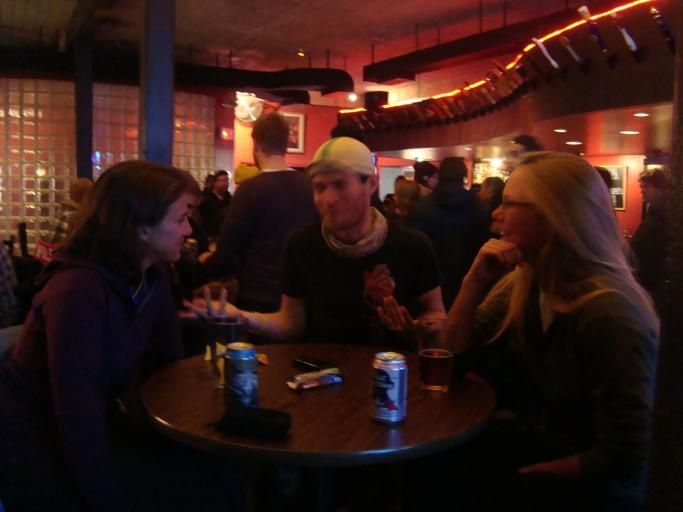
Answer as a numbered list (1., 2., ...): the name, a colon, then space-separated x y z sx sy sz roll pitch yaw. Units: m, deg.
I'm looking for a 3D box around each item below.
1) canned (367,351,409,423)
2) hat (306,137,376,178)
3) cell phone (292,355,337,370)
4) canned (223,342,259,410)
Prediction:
1. canned: 0.136 0.367 1.687 0.104 0.196 0.074 1 13 1
2. hat: 0.006 -0.378 2.352 0.206 0.097 0.154 11 -1 -17
3. cell phone: -0.091 0.361 2.034 0.050 0.018 0.090 -4 6 -41
4. canned: -0.293 0.343 1.735 0.094 0.174 0.066 0 13 -3
